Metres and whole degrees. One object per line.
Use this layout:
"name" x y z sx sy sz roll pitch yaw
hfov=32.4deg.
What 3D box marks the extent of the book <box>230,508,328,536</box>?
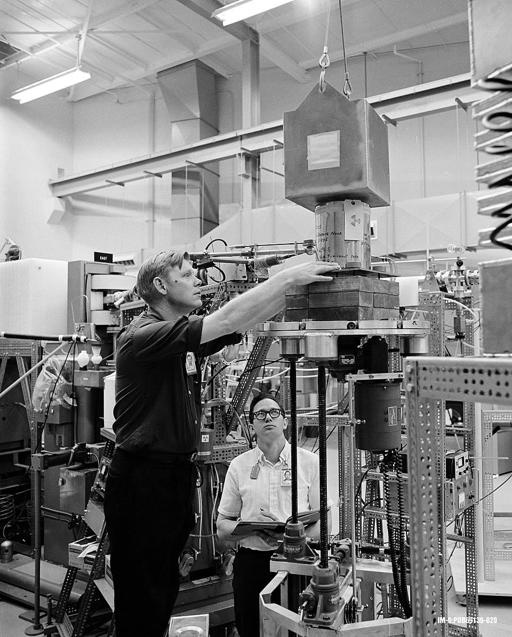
"book" 0.100 0.783 3.358 0.206 0.091 0.226 -2 -18 -1
